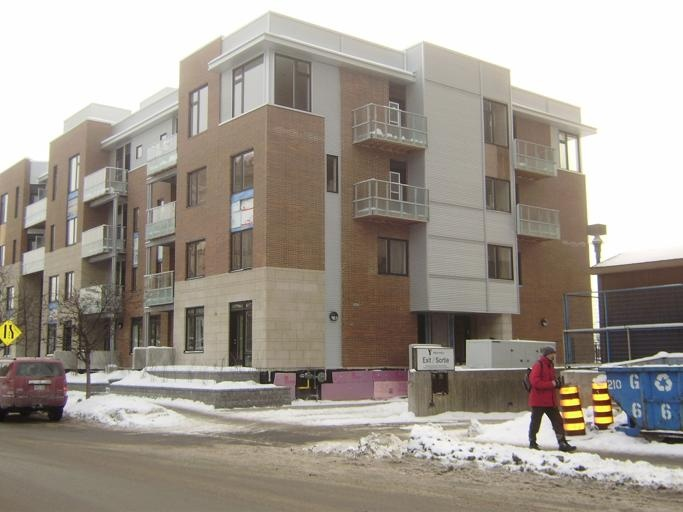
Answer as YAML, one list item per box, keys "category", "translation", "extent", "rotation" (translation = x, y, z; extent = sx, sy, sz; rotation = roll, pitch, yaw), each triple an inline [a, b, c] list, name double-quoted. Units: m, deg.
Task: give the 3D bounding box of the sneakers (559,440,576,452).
- category: "sneakers"
  translation: [4.582, 3.893, 13.373]
  extent: [0.408, 0.272, 0.159]
  rotation: [-4, 1, -31]

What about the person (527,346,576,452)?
- category: "person"
  translation: [4.372, 3.046, 14.045]
  extent: [0.852, 2.184, 0.860]
  rotation: [-5, -15, 14]

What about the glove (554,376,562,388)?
- category: "glove"
  translation: [4.680, 2.769, 14.233]
  extent: [0.150, 0.190, 0.446]
  rotation: [-2, -2, 23]
